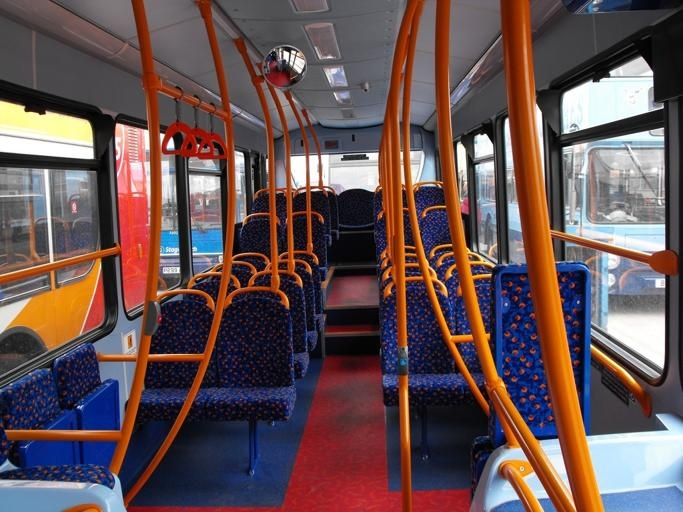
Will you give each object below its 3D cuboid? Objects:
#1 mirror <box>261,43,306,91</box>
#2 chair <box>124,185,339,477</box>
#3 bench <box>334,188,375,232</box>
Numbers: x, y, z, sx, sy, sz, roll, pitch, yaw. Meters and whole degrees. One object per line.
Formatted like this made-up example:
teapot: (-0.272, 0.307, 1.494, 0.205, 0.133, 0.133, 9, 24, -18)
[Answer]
mirror: (-0.372, -1.205, 3.223, 0.269, 0.247, 0.205, -3, 8, -8)
chair: (-0.732, 0.406, 4.544, 1.036, 1.584, 2.232, 0, 5, 5)
bench: (0.266, -0.821, 9.011, 0.647, 0.681, 0.649, -2, 8, -1)
